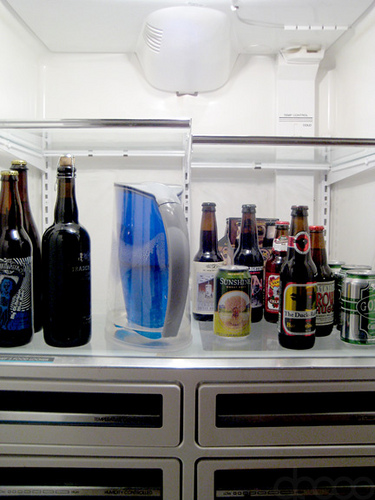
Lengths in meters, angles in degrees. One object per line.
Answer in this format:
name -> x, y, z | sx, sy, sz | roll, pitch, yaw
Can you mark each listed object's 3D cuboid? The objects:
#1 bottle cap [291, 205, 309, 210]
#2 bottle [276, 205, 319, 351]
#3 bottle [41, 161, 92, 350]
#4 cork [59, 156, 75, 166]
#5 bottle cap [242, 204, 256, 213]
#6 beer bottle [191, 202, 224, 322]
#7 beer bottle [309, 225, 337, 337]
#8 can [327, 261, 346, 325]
bottle cap -> 0.183, -0.071, 0.798 | 0.023, 0.009, 0.024 | 4, 10, 37
bottle -> 0.180, 0.046, 0.788 | 0.062, 0.231, 0.059 | 1, 4, 0
bottle -> -0.187, 0.010, 0.783 | 0.092, 0.300, 0.063 | -2, 5, -33
cork -> -0.189, -0.139, 0.758 | 0.018, 0.019, 0.012 | 2, 11, -3
bottle cap -> 0.117, -0.078, 0.925 | 0.024, 0.015, 0.031 | 1, 5, 2
beer bottle -> 0.037, 0.023, 0.933 | 0.055, 0.223, 0.063 | 3, -4, -7
beer bottle -> 0.236, 0.054, 0.862 | 0.037, 0.198, 0.054 | 0, 1, 9
can -> 0.276, 0.080, 0.911 | 0.027, 0.118, 0.041 | 0, 2, 12
